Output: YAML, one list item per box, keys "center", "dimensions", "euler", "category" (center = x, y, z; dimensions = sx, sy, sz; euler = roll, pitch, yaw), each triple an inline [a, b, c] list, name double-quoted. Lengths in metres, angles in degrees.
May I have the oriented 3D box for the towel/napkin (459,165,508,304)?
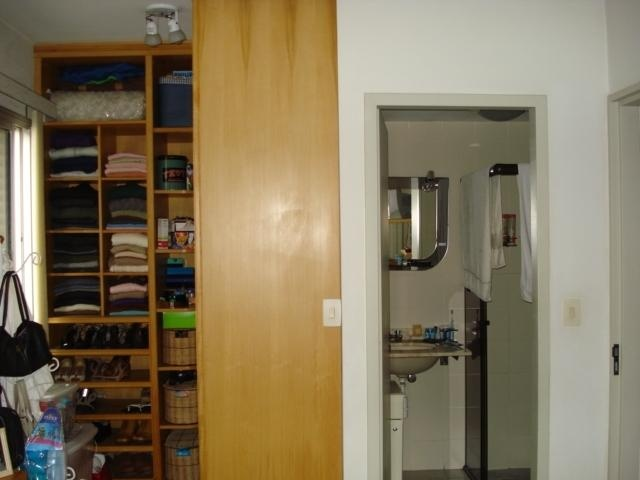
- center: [1.149, -0.029, 4.711]
  dimensions: [0.189, 0.942, 0.519]
  euler: [-1, -7, -23]
  category: "towel/napkin"

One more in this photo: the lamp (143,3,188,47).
- center: [-1.015, -1.416, 4.264]
  dimensions: [0.253, 0.245, 0.122]
  euler: [1, 33, -3]
  category: "lamp"

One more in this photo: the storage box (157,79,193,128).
- center: [-1.034, -0.963, 4.711]
  dimensions: [0.267, 0.381, 0.207]
  euler: [-1, -8, 2]
  category: "storage box"

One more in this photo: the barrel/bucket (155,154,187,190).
- center: [-1.079, -0.482, 4.733]
  dimensions: [0.205, 0.254, 0.215]
  euler: [0, 6, 0]
  category: "barrel/bucket"

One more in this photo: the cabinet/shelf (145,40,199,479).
- center: [-1.049, 0.148, 4.643]
  dimensions: [0.357, 3.054, 0.553]
  euler: [-2, -7, -14]
  category: "cabinet/shelf"

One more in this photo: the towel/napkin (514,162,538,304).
- center: [1.352, -0.059, 4.318]
  dimensions: [0.127, 0.947, 1.057]
  euler: [-5, -7, 16]
  category: "towel/napkin"

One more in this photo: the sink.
- center: [0.781, 0.843, 4.697]
  dimensions: [0.575, 0.262, 0.311]
  euler: [-4, -7, 3]
  category: "sink"

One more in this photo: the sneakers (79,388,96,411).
- center: [-1.676, 1.137, 4.678]
  dimensions: [0.109, 0.136, 0.147]
  euler: [-1, -2, -4]
  category: "sneakers"

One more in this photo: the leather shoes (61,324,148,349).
- center: [-1.543, 0.687, 4.649]
  dimensions: [0.259, 0.118, 0.369]
  euler: [1, 1, -9]
  category: "leather shoes"

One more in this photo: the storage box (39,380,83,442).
- center: [-1.627, 1.068, 4.057]
  dimensions: [0.239, 0.445, 0.244]
  euler: [-5, 25, -25]
  category: "storage box"
